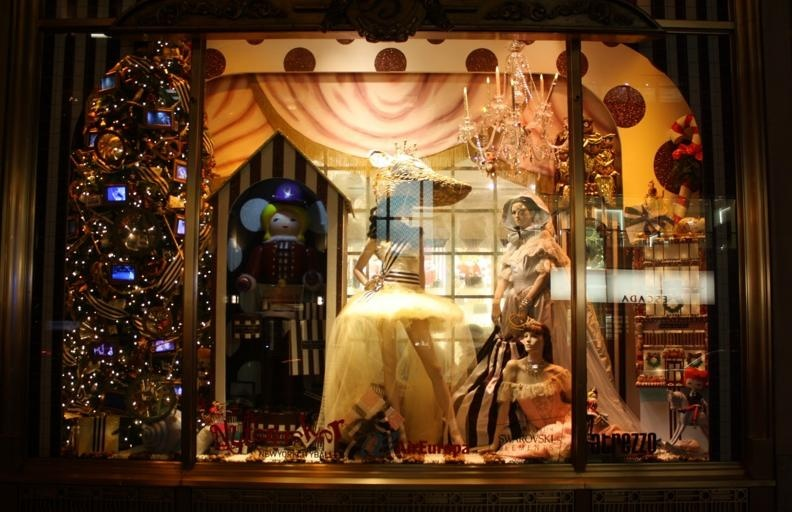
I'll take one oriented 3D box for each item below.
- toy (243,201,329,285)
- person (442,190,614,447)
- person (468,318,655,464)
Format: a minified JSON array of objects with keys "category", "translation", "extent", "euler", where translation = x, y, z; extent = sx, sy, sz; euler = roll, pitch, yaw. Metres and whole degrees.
[{"category":"toy","translation":[-0.791,-0.070,7.203],"extent":[0.506,0.719,0.283],"euler":[1,-13,-8]},{"category":"person","translation":[0.927,0.484,6.961],"extent":[1.390,1.962,1.053],"euler":[-7,-12,38]},{"category":"person","translation":[0.954,0.882,7.012],"extent":[1.099,0.931,0.616],"euler":[-8,7,-9]}]
